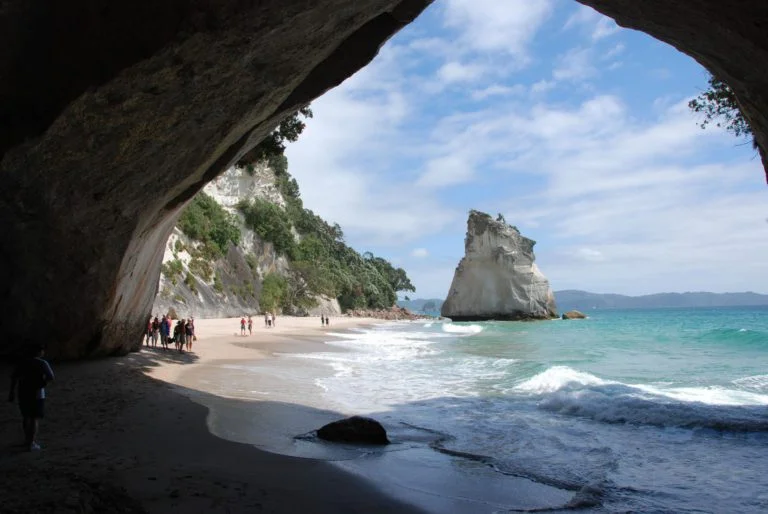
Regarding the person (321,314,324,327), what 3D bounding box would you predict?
[{"bbox_3d":[-7.703,7.907,49.920,0.565,1.369,0.407,6,11,4],"label":"person"}]
